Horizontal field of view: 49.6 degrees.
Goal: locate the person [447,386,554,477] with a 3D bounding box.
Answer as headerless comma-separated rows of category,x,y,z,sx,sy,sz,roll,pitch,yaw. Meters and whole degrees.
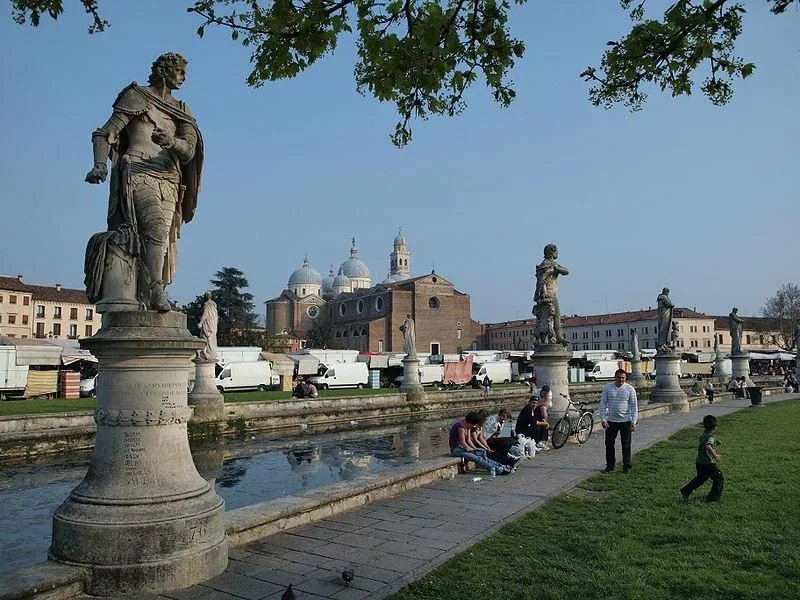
person,1.513,2.474,15.127,1.080,1.074,1.154,-7,-9,34

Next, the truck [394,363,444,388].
truck,1.613,4.376,51.694,2.141,1.096,1.497,5,-12,-23

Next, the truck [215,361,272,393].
truck,-7.853,3.800,43.316,2.563,1.158,1.040,7,-9,-40

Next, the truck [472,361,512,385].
truck,6.178,4.637,56.764,3.047,1.468,1.083,7,-11,-34

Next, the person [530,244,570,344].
person,3.288,-0.094,19.224,0.718,2.283,0.653,-3,-7,8

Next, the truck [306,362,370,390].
truck,-3.233,4.091,46.825,2.899,1.218,1.169,7,-11,-40

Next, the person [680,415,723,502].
person,4.520,2.323,13.034,0.550,1.172,1.917,-4,-8,20

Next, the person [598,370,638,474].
person,3.773,2.050,14.992,0.627,1.699,1.295,-3,-7,12

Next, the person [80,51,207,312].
person,-3.064,-1.410,10.449,1.341,3.150,0.682,1,-7,-21
